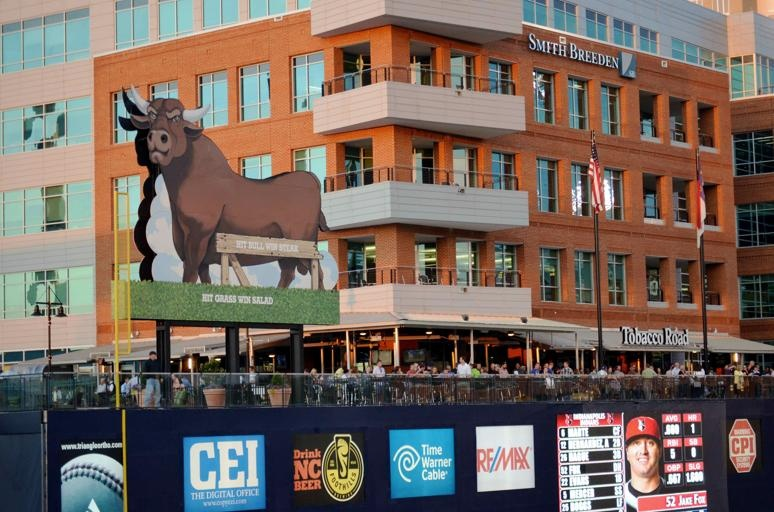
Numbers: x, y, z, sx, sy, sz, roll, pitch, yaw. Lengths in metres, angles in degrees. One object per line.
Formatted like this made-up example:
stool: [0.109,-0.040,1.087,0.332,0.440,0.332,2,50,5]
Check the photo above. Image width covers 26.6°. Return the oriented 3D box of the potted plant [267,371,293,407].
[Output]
potted plant: [-5.553,6.830,80.983,1.452,1.638,1.495,-7,-9,33]
